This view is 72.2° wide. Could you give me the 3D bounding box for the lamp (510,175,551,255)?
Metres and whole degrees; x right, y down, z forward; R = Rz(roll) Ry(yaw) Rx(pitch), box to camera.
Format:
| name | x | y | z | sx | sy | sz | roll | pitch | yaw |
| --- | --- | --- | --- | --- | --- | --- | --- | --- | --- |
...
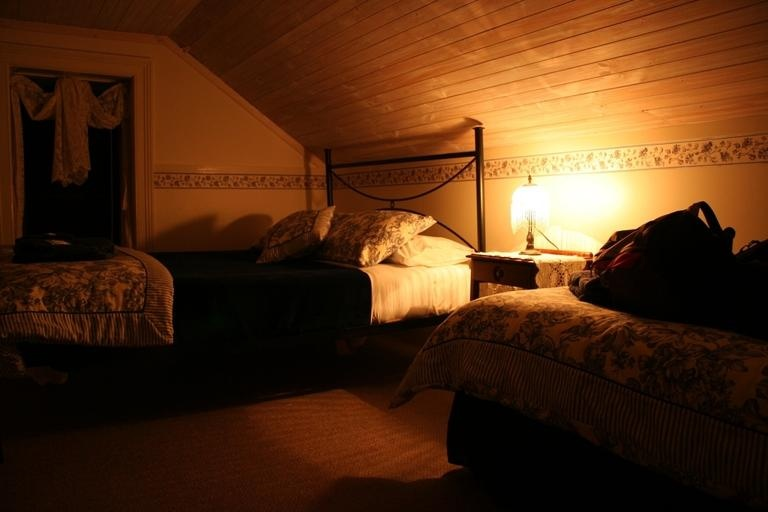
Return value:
| name | x | y | z | sx | sy | sz | roll | pitch | yaw |
| --- | --- | --- | --- | --- | --- | --- | --- | --- | --- |
| lamp | 0.909 | -0.246 | 3.311 | 0.274 | 0.434 | 0.246 | -13 | 20 | -39 |
